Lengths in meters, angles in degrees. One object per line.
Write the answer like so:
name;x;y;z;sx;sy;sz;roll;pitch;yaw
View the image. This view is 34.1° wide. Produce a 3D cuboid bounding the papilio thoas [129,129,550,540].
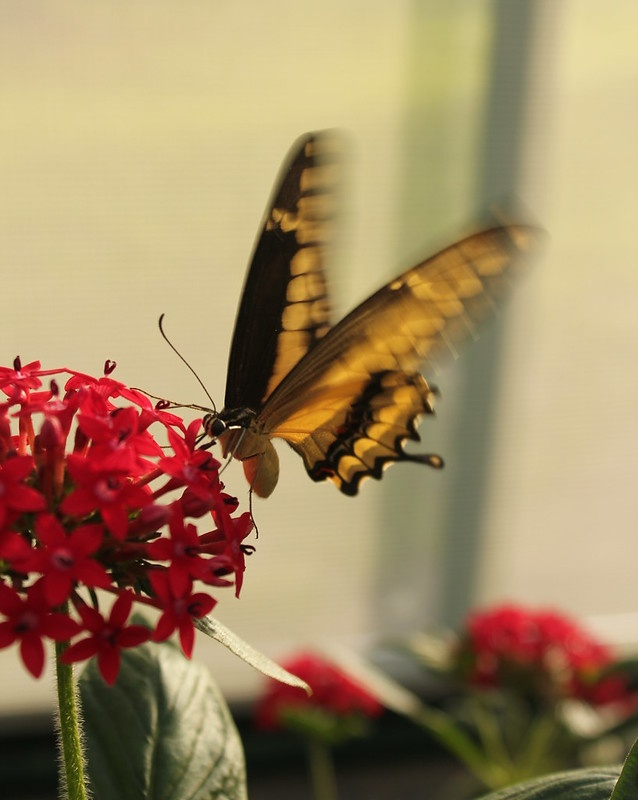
papilio thoas;0.005;-0.073;1.336;0.418;0.370;0.422;-5;13;-11
